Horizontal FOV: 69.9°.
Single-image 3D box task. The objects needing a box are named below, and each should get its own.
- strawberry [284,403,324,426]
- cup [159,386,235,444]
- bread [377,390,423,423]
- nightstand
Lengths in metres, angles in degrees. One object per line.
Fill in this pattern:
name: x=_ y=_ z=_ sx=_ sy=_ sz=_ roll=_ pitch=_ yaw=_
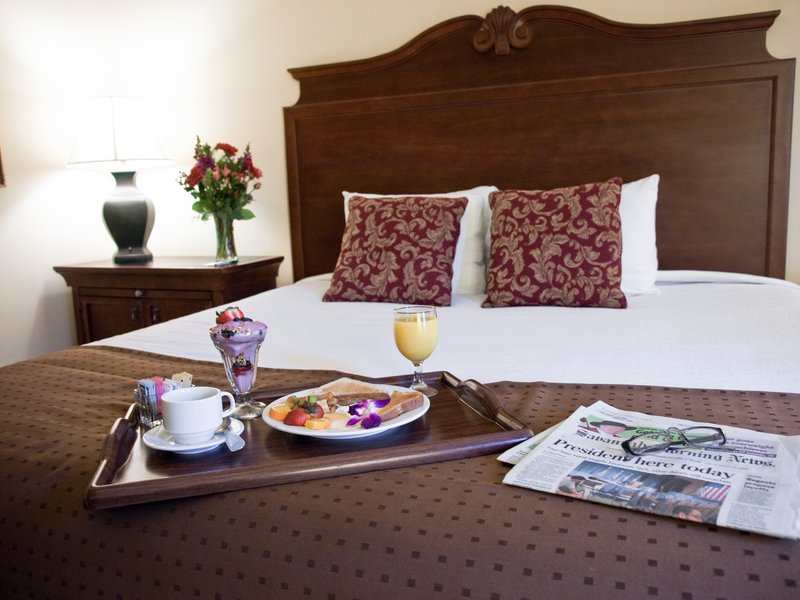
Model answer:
strawberry: x=-0.181 y=0.213 z=1.063 sx=0.034 sy=0.024 sz=0.052 roll=4 pitch=2 yaw=40
cup: x=-0.372 y=0.210 z=1.046 sx=0.115 sy=0.070 sz=0.087 roll=1 pitch=5 yaw=5
bread: x=-0.007 y=0.203 z=1.122 sx=0.049 sy=0.019 sz=0.063 roll=6 pitch=30 yaw=45
nightstand: x=-1.271 y=0.126 z=3.104 sx=0.917 sy=0.838 sz=0.566 roll=3 pitch=8 yaw=17
